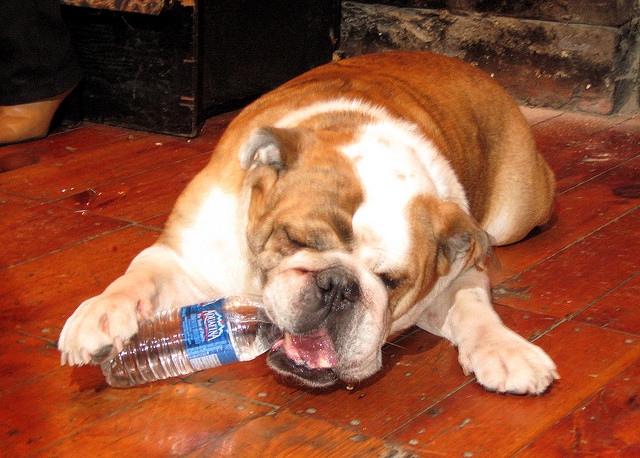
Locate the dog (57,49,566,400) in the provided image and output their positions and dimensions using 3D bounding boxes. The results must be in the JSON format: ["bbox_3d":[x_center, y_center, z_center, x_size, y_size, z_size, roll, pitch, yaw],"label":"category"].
[{"bbox_3d":[0.100,-0.180,2.574,1.705,0.762,2.083,10,27,9],"label":"dog"}]
